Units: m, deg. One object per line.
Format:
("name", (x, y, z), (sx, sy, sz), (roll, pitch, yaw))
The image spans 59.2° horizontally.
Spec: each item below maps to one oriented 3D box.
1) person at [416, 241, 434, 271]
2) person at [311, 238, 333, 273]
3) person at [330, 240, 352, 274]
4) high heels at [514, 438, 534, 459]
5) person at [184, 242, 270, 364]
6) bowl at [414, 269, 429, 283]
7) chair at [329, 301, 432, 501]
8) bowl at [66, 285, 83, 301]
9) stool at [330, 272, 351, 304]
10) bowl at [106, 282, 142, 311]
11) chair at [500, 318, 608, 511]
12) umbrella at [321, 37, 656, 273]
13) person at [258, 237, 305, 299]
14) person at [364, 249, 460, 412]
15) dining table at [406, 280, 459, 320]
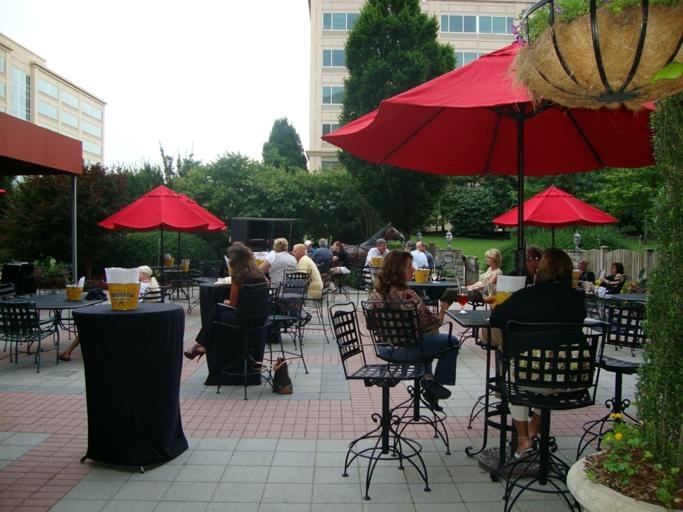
("person", (2.029, 0.017, 14.598), (0.524, 0.746, 0.249), (-10, 14, 36))
("person", (-0.519, 0.036, 15.868), (0.476, 1.084, 0.551), (-9, 24, -32))
("person", (-0.047, 0.044, 18.409), (0.806, 1.228, 0.704), (-1, -2, 20))
("high heels", (1.588, 1.689, 5.259), (0.100, 0.127, 0.291), (-2, -22, -22))
("person", (-1.409, 0.548, 7.496), (0.950, 0.952, 0.602), (-3, 1, -8))
("bowl", (1.314, 0.339, 9.823), (0.208, 0.171, 0.220), (0, -4, 0))
("chair", (0.333, 1.196, 5.419), (0.792, 1.477, 1.292), (-2, 1, -1))
("bowl", (-3.989, 0.545, 8.915), (0.192, 0.193, 0.267), (-3, 1, -23))
("stool", (0.004, 0.948, 17.984), (0.705, 0.791, 0.674), (1, -5, -2))
("bowl", (-1.935, 0.363, 5.278), (0.223, 0.197, 0.245), (1, -5, 0))
("chair", (1.663, 1.233, 4.783), (0.770, 1.499, 1.117), (-2, 2, 20))
("umbrella", (1.565, -0.856, 6.018), (3.321, 1.946, 2.381), (-4, 2, -41))
("person", (-1.123, 0.356, 10.941), (0.600, 1.313, 0.660), (4, -13, -31))
("person", (0.762, 0.742, 5.891), (0.909, 1.664, 0.691), (-9, 6, -32))
("dining table", (1.501, 0.798, 9.868), (0.820, 0.995, 0.895), (0, 8, 10))
